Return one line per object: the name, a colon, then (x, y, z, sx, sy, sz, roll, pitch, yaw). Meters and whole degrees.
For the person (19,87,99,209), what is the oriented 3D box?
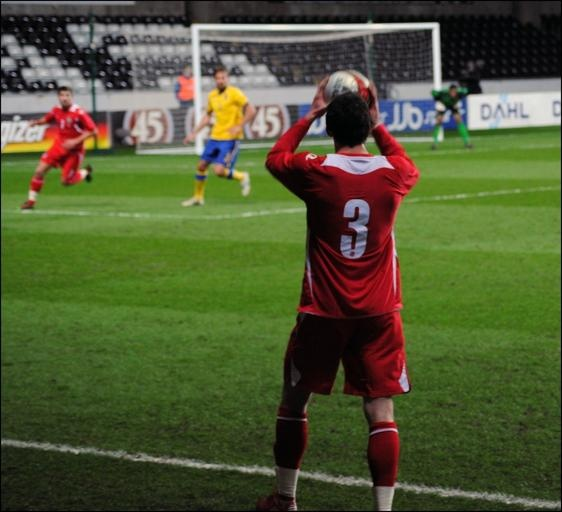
person: (-1.899, -0.915, 7.503, 0.649, 1.044, 1.746, -4, 15, -15)

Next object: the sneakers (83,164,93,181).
sneakers: (-1.445, -0.615, 6.514, 0.060, 0.082, 0.182, 0, 40, -7)

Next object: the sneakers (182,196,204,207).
sneakers: (-0.561, -0.339, 5.507, 0.135, 0.058, 0.050, 2, 1, -5)

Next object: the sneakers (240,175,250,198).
sneakers: (-0.394, -0.778, 9.350, 0.102, 0.293, 0.131, -1, -9, 9)

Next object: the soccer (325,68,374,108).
soccer: (0.291, -0.743, 3.903, 0.184, 0.139, 0.149, 5, 41, -25)

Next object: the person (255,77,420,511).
person: (0.247, 0.202, 3.869, 0.667, 1.904, 0.638, 2, 14, 8)
